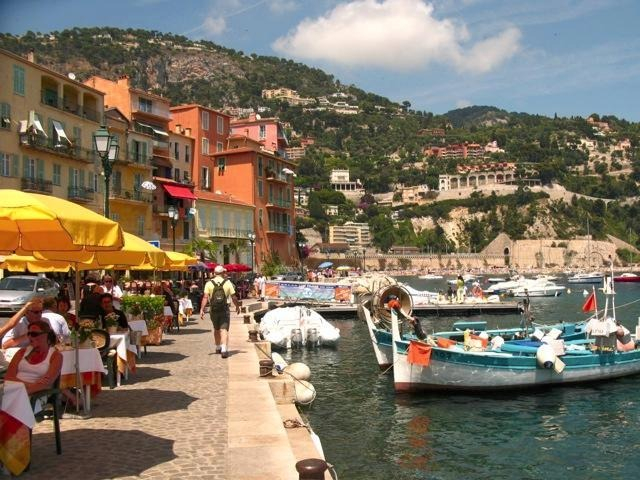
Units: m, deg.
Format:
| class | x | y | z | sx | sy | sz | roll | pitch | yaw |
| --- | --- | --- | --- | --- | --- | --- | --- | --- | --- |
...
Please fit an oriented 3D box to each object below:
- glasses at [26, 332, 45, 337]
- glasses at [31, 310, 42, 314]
| class | x | y | z | sx | sy | sz | roll | pitch | yaw |
| --- | --- | --- | --- | --- | --- | --- | --- | --- | --- |
| glasses | -5.862 | 1.964 | 16.468 | 0.305 | 0.110 | 0.141 | -3 | -3 | 16 |
| glasses | -5.972 | 1.546 | 17.073 | 0.147 | 0.098 | 0.265 | -3 | -3 | 14 |
